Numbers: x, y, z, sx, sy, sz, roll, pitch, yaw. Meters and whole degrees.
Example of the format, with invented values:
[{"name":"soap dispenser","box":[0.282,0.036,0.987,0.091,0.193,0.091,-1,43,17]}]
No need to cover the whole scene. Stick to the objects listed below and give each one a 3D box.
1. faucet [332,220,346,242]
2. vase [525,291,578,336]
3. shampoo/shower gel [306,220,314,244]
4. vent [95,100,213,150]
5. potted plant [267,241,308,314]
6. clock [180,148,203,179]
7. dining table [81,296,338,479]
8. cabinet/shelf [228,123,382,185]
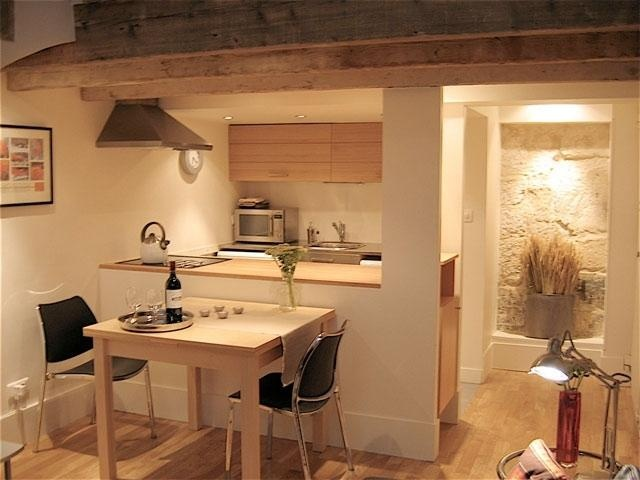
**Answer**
[{"name":"faucet","box":[0.222,-0.091,6.107,0.155,0.253,0.071,0,5,0]},{"name":"vase","box":[2.513,0.847,5.488,0.655,0.475,0.512,5,-11,5]},{"name":"shampoo/shower gel","box":[-0.123,-0.088,6.213,0.137,0.266,0.086,1,5,18]},{"name":"vent","box":[-1.486,-1.014,4.493,0.737,0.466,0.581,1,4,16]},{"name":"potted plant","box":[-0.224,0.271,3.731,0.407,0.448,0.373,6,-10,-31]},{"name":"clock","box":[-1.346,-0.799,5.311,0.075,0.345,0.353,-1,3,28]},{"name":"dining table","box":[-0.712,1.031,3.558,1.293,1.047,0.984,1,4,20]},{"name":"cabinet/shelf","box":[-0.070,-0.982,5.839,2.016,0.612,0.595,5,10,31]}]
